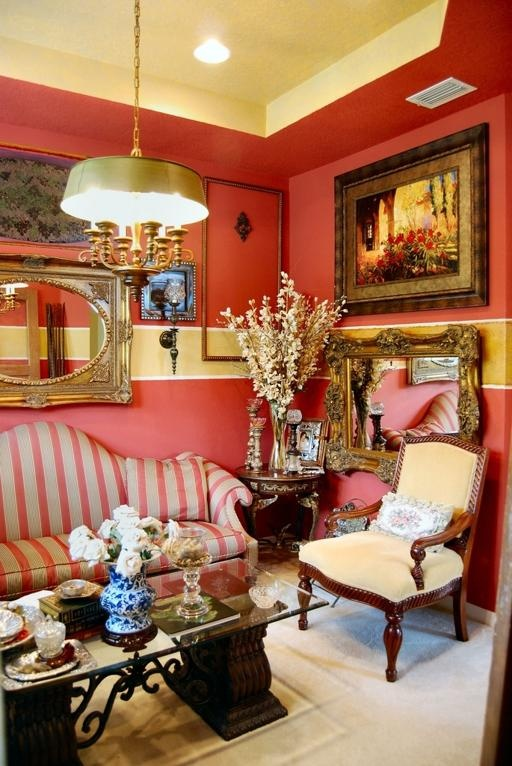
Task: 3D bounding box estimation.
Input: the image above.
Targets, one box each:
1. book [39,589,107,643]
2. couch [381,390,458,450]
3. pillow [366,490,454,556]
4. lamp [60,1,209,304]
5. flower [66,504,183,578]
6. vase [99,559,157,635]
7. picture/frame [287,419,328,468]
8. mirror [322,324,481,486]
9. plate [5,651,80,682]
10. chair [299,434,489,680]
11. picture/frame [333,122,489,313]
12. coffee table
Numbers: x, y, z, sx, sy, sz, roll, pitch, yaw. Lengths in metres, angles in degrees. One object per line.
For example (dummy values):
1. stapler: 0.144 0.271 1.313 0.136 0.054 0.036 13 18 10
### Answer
1. book: -0.708 0.897 2.163 0.153 0.073 0.151 -1 3 -41
2. couch: 1.082 0.240 3.582 0.387 0.453 0.333 -2 -4 16
3. pillow: 0.880 0.768 3.142 0.107 0.246 0.360 38 -21 -22
4. lamp: -0.602 -1.108 2.601 0.587 1.171 1.638 1 0 -19
5. flower: -0.531 0.589 2.175 0.334 0.240 0.338 1 2 19
6. vase: -0.489 0.831 2.229 0.234 0.297 0.230 1 -1 -9
7. picture/frame: 0.410 0.476 4.332 0.362 0.427 0.032 -7 -21 43
8. mirror: 0.988 0.135 3.659 0.130 1.053 1.199 1 -1 -30
9. plate: -0.703 0.924 1.814 0.220 0.024 0.181 1 0 1
10. chair: 0.789 0.869 3.116 0.892 1.297 0.701 1 0 -40
11. picture/frame: 1.039 -1.089 3.604 0.075 1.063 1.275 -1 0 -33
12. coffee table: 0.196 0.979 4.299 0.725 0.746 0.713 -1 8 -15
